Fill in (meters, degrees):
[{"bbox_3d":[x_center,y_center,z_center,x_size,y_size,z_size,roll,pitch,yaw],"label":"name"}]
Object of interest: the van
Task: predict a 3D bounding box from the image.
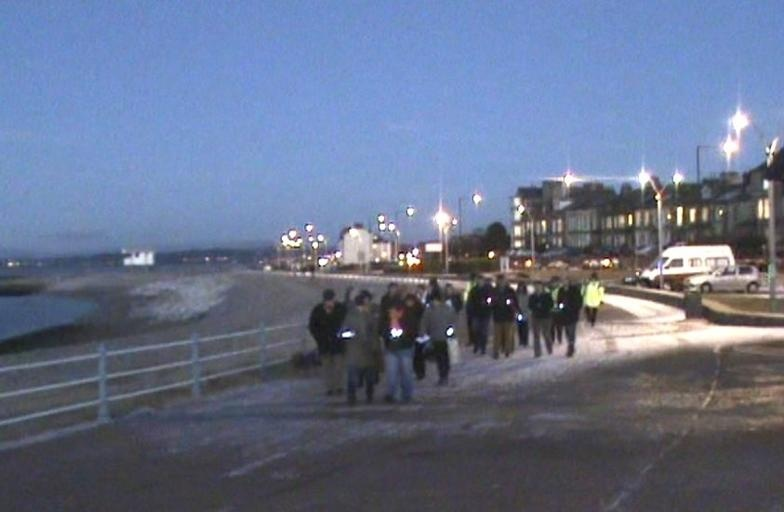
[{"bbox_3d":[21.504,0.628,48.865,6.004,3.438,2.274,0,0,-3],"label":"van"}]
